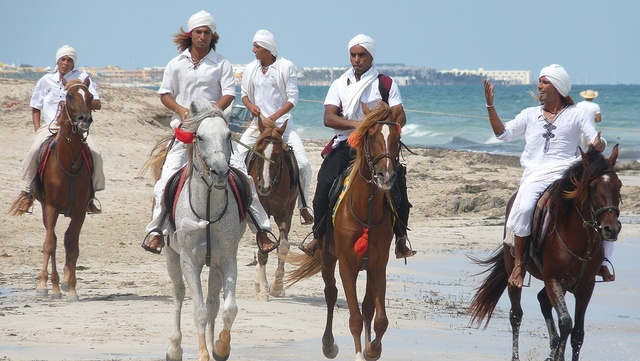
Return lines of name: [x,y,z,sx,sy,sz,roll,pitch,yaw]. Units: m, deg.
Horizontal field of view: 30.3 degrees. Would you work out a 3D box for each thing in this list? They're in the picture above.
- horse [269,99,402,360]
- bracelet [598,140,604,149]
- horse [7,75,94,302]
horse: [0.805,1.184,28.193,2.605,6.049,1.060,3,2,42]
bracelet: [6.607,-0.854,27.847,0.067,0.177,0.186,17,-27,-34]
horse: [-6.707,0.181,31.031,1.811,5.580,1.468,1,2,11]
